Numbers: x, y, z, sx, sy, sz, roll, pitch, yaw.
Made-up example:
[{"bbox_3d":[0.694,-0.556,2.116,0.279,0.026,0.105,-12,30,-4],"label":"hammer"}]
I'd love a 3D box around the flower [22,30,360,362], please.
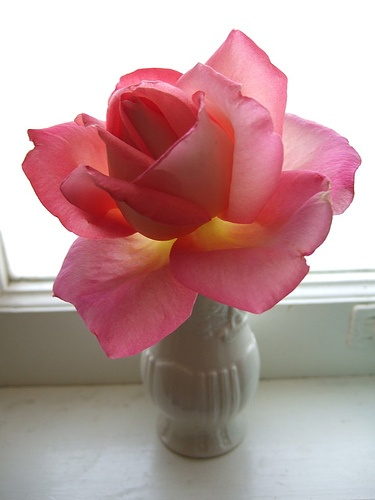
[{"bbox_3d":[0.012,-0.046,0.384,0.241,0.196,0.192,-7,32,-13],"label":"flower"}]
